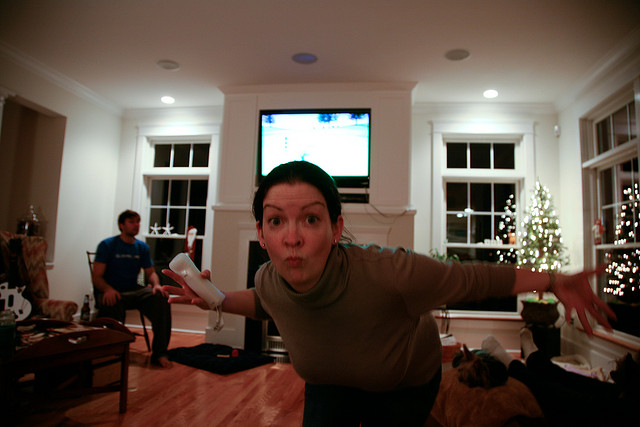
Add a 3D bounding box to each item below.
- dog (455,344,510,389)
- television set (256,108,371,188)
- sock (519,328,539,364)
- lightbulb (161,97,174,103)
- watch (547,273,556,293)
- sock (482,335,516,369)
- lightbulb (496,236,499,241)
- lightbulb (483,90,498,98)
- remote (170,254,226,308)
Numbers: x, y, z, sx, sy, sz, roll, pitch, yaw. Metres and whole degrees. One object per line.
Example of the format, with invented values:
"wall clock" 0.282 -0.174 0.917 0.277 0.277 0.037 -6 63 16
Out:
"dog" 1.391 1.310 3.939 0.487 0.360 0.328 -5 -21 -9
"television set" -0.082 -0.773 5.763 1.420 1.080 0.156 0 -7 4
"sock" 1.977 1.179 4.309 0.113 0.409 0.168 -12 -50 12
"lightbulb" -2.163 -1.603 6.550 0.164 0.059 0.171 -5 4 0
"watch" 1.399 0.422 2.783 0.050 0.119 0.022 -4 2 16
"sock" 1.592 1.250 4.162 0.176 0.217 0.336 -6 4 -29
"lightbulb" 2.413 0.345 6.257 0.018 0.052 0.049 25 -26 -39
"lightbulb" 2.222 -1.547 5.991 0.168 0.073 0.198 -3 4 21
"remote" -0.859 0.424 3.116 0.130 0.164 0.432 39 -31 -25
